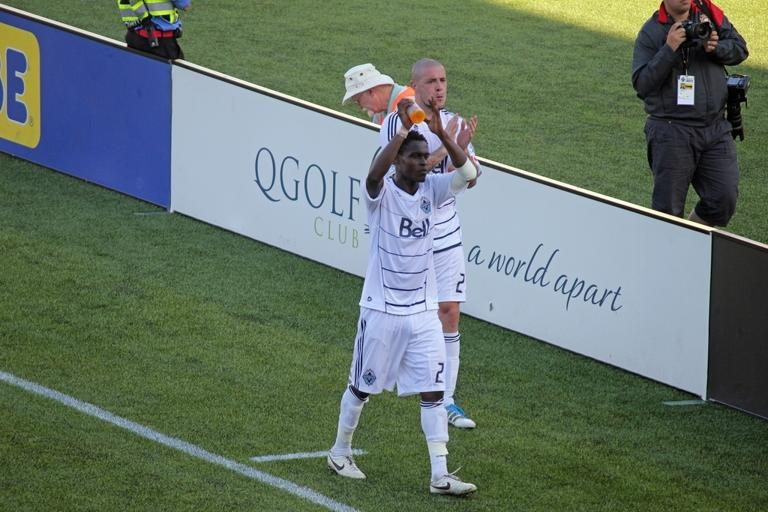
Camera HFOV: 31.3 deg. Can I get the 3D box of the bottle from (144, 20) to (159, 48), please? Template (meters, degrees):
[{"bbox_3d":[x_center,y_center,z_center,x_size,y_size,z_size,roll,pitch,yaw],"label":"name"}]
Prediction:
[{"bbox_3d":[-2.381,-2.284,14.036,0.172,0.282,0.159,10,15,-3],"label":"bottle"}]

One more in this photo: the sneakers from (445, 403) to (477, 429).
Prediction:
[{"bbox_3d":[0.594,1.276,11.179,0.311,0.156,0.116,23,21,30],"label":"sneakers"}]

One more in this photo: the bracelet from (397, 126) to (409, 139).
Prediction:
[{"bbox_3d":[0.137,-0.915,10.091,0.073,0.053,0.075,6,14,0],"label":"bracelet"}]

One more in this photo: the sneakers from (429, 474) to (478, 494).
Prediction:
[{"bbox_3d":[0.527,1.734,10.498,0.378,0.188,0.141,0,4,6],"label":"sneakers"}]

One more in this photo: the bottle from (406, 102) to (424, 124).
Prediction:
[{"bbox_3d":[0.219,-1.061,10.107,0.117,0.119,0.187,20,17,-19],"label":"bottle"}]

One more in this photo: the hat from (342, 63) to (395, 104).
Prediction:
[{"bbox_3d":[-0.141,-1.405,11.176,0.362,0.206,0.287,-25,6,6],"label":"hat"}]

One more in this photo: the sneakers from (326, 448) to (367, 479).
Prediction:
[{"bbox_3d":[-0.306,1.585,10.643,0.360,0.168,0.145,21,25,23],"label":"sneakers"}]

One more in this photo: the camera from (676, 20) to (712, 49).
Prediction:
[{"bbox_3d":[2.735,-1.975,12.076,0.155,0.242,0.252,-9,6,-24],"label":"camera"}]
